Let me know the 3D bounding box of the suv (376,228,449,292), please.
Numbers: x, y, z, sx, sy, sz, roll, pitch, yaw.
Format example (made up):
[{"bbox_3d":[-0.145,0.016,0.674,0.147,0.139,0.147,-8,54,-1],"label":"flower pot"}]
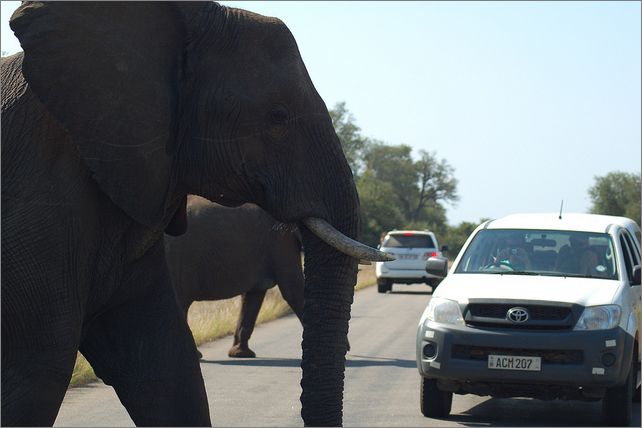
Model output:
[{"bbox_3d":[2.941,1.502,26.358,1.676,1.663,3.020,1,2,7],"label":"suv"}]
